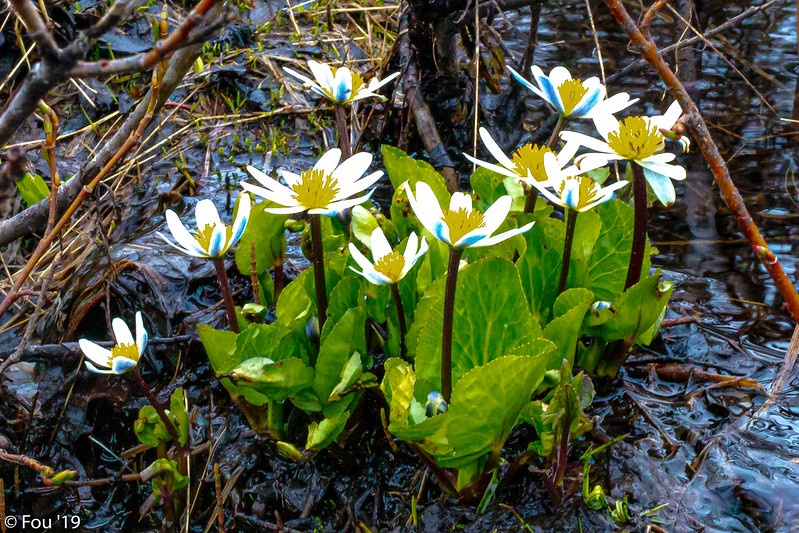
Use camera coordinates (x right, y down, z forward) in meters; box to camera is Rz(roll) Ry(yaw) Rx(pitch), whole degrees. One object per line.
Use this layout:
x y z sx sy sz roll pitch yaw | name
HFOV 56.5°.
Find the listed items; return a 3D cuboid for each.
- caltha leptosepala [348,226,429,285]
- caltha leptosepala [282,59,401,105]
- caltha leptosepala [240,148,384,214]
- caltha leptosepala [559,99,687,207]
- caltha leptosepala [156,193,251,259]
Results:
-0.026 -0.010 2.426 0.249 0.136 0.247 0 6 -22 | caltha leptosepala
-0.229 -0.653 2.791 0.329 0.124 0.353 -4 5 18 | caltha leptosepala
-0.310 -0.271 2.543 0.470 0.161 0.496 4 -9 6 | caltha leptosepala
0.749 -0.411 2.524 0.393 0.244 0.359 3 40 14 | caltha leptosepala
-0.623 -0.122 2.585 0.380 0.202 0.407 3 3 41 | caltha leptosepala
